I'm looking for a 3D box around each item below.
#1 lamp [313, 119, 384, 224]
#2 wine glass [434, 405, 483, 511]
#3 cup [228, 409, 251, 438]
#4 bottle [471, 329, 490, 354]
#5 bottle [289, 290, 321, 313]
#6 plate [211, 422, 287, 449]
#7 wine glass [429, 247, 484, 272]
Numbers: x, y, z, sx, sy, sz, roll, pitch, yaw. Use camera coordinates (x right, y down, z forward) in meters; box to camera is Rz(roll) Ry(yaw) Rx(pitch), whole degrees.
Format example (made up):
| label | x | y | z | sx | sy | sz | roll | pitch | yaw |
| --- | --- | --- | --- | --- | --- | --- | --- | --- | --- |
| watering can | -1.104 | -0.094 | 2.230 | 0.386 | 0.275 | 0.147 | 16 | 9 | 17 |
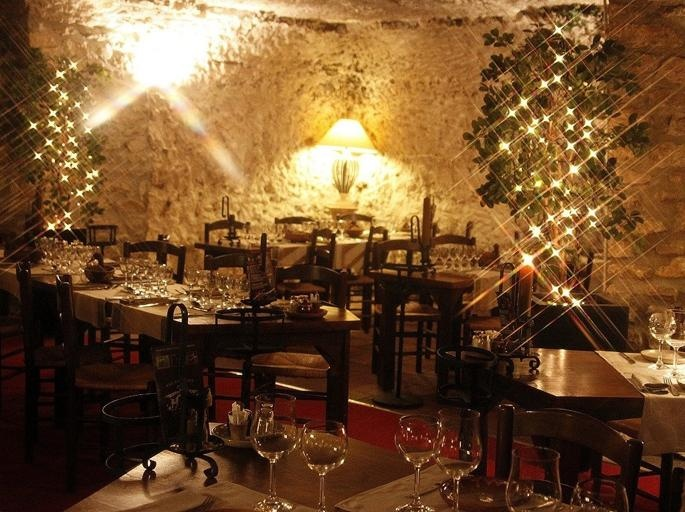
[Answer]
| label | x | y | z | sx | sy | sz | roll | pitch | yaw |
| --- | --- | --- | --- | --- | --- | --- | --- | --- | --- |
| lamp | 0.034 | -1.042 | 7.746 | 0.712 | 1.282 | 0.713 | 3 | -4 | 4 |
| wine glass | 0.325 | 0.549 | 1.706 | 0.119 | 0.215 | 0.226 | 2 | -1 | 12 |
| cup | -0.324 | 0.521 | 1.922 | 0.068 | 0.078 | 0.065 | 0 | -8 | 0 |
| bottle | 0.654 | 0.393 | 2.885 | 0.069 | 0.095 | 0.093 | 4 | 7 | 30 |
| bottle | -0.221 | 0.255 | 3.478 | 0.143 | 0.077 | 0.199 | 0 | -5 | 2 |
| plate | -0.352 | 0.563 | 1.956 | 0.115 | 0.029 | 0.119 | 23 | 6 | 37 |
| wine glass | 0.957 | 0.031 | 5.177 | 0.210 | 0.283 | 0.724 | -2 | -3 | 39 |
